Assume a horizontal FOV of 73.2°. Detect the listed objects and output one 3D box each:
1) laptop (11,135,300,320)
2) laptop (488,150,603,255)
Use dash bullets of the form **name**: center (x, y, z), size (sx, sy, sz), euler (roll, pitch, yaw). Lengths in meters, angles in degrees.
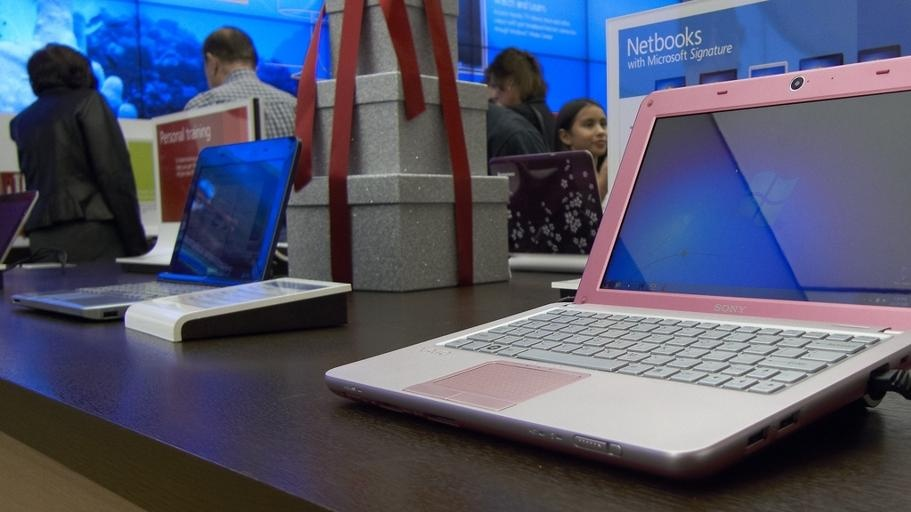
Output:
- **laptop**: center (-0.489, -0.049, 1.064), size (0.427, 0.282, 0.387), euler (1, 3, -40)
- **laptop**: center (0.271, -0.123, 1.589), size (0.340, 0.221, 0.248), euler (0, 8, 37)
